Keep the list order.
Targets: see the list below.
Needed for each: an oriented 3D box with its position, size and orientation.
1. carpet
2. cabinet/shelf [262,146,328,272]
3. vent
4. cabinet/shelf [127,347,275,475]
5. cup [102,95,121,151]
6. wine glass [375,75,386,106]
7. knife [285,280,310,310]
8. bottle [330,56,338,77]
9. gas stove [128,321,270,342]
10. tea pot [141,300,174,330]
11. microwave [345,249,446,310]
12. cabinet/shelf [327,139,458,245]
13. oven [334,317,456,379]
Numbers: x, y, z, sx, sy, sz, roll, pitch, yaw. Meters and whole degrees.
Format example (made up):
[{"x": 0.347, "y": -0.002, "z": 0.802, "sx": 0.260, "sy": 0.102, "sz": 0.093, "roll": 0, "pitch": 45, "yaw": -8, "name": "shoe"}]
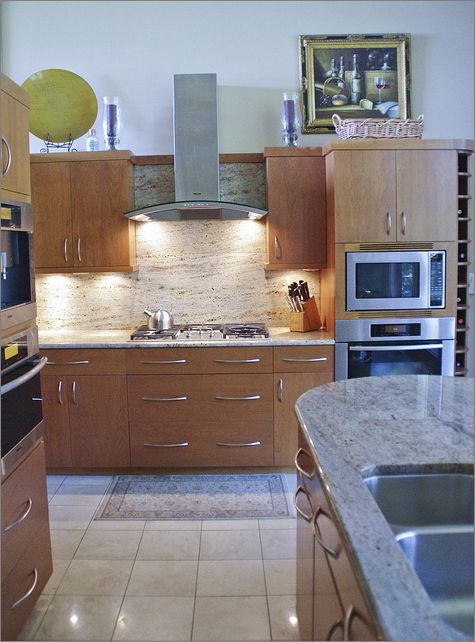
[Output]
[{"x": -0.213, "y": 0.937, "z": 2.938, "sx": 0.989, "sy": 0.020, "sz": 0.542, "roll": -1, "pitch": 9, "yaw": 1, "name": "carpet"}, {"x": 0.475, "y": -0.660, "z": 3.408, "sx": 0.407, "sy": 0.640, "sz": 0.398, "roll": 0, "pitch": 11, "yaw": 23, "name": "cabinet/shelf"}, {"x": -0.276, "y": -1.116, "z": 3.373, "sx": 0.972, "sy": 0.918, "sz": 0.466, "roll": 0, "pitch": 8, "yaw": 2, "name": "vent"}, {"x": -0.172, "y": 0.507, "z": 3.301, "sx": 0.907, "sy": 0.669, "sz": 0.489, "roll": -1, "pitch": 0, "yaw": 5, "name": "cabinet/shelf"}, {"x": -0.755, "y": -1.186, "z": 3.274, "sx": 0.100, "sy": 0.298, "sz": 0.116, "roll": -3, "pitch": 9, "yaw": -14, "name": "cup"}, {"x": 0.899, "y": -1.466, "z": 3.420, "sx": 0.060, "sy": 0.164, "sz": 0.103, "roll": 1, "pitch": 9, "yaw": 15, "name": "wine glass"}, {"x": 0.379, "y": -0.166, "z": 3.396, "sx": 0.112, "sy": 0.196, "sz": 0.152, "roll": -6, "pitch": 14, "yaw": 24, "name": "knife"}, {"x": 0.608, "y": -1.614, "z": 3.456, "sx": 0.043, "sy": 0.114, "sz": 0.009, "roll": 1, "pitch": 9, "yaw": 12, "name": "bottle"}, {"x": -0.216, "y": 0.064, "z": 3.293, "sx": 0.801, "sy": 0.028, "sz": 0.446, "roll": -1, "pitch": 9, "yaw": 2, "name": "gas stove"}, {"x": -0.525, "y": -0.031, "z": 3.442, "sx": 0.215, "sy": 0.164, "sz": 0.153, "roll": 2, "pitch": 6, "yaw": 17, "name": "tea pot"}, {"x": 0.891, "y": -0.212, "z": 3.231, "sx": 0.630, "sy": 0.381, "sz": 0.347, "roll": 0, "pitch": -2, "yaw": -5, "name": "microwave"}, {"x": 0.892, "y": -0.729, "z": 3.168, "sx": 0.759, "sy": 0.548, "sz": 0.267, "roll": -2, "pitch": 5, "yaw": -3, "name": "cabinet/shelf"}, {"x": 0.926, "y": 0.266, "z": 3.305, "sx": 0.668, "sy": 0.643, "sz": 0.442, "roll": -1, "pitch": 6, "yaw": 6, "name": "oven"}]
